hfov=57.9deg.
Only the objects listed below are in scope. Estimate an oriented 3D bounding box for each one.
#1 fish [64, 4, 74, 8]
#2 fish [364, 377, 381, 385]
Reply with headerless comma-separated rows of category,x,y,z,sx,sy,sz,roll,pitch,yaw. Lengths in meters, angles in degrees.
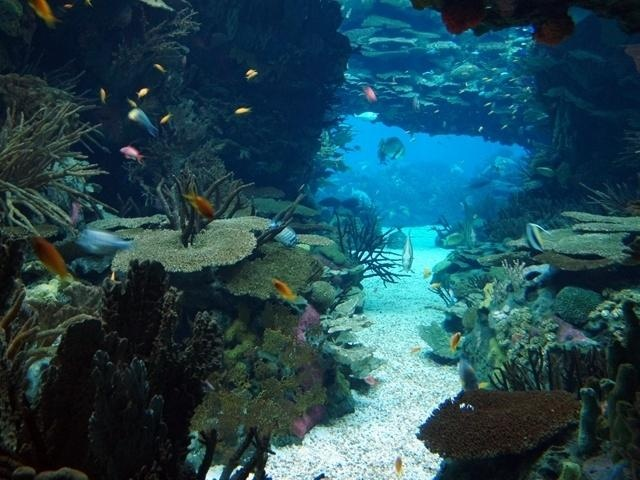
fish,-4.679,-4.364,10.839,0.167,0.084,0.196,-5,16,-23
fish,0.902,2.433,10.019,0.136,0.067,0.240,-7,-6,-32
